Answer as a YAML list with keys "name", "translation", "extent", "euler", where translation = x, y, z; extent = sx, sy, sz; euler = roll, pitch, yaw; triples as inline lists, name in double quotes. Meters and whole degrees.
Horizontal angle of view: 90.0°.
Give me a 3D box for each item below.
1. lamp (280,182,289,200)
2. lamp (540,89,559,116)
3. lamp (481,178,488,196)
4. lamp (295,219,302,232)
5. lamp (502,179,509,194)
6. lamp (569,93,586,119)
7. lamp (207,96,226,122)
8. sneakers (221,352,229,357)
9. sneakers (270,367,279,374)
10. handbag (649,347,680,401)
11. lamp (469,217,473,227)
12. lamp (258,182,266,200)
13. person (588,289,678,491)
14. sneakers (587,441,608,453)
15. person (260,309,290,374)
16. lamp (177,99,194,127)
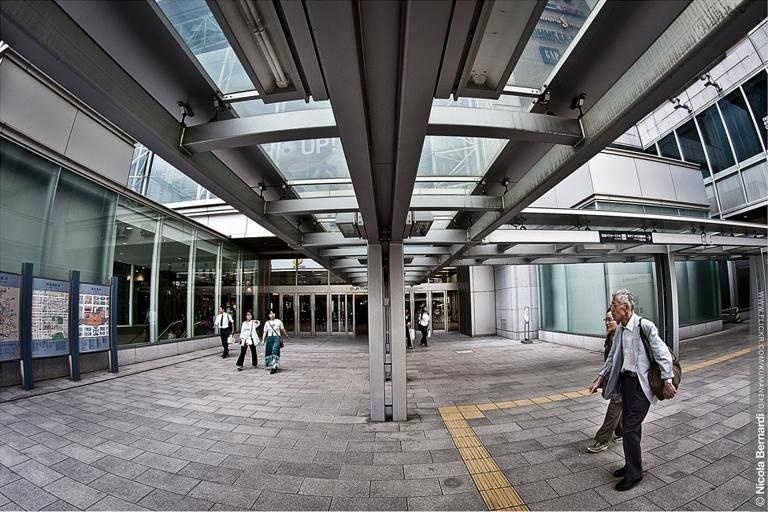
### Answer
- name: "lamp"
  translation: [-1.834, -1.195, 7.065]
  extent: [0.122, 0.285, 0.408]
  euler: [-1, 0, -16]
- name: "lamp"
  translation: [2.145, -2.015, 5.081]
  extent: [0.144, 0.320, 0.315]
  euler: [-1, 0, 37]
- name: "lamp"
  translation: [1.851, -1.247, 7.117]
  extent: [0.109, 0.272, 0.397]
  euler: [-1, 0, 14]
- name: "lamp"
  translation: [-1.958, -0.686, 8.837]
  extent: [0.077, 0.210, 0.158]
  euler: [8, 9, 4]
- name: "lamp"
  translation: [2.171, -1.249, 6.868]
  extent: [0.113, 0.235, 0.402]
  euler: [-1, 0, 18]
- name: "lamp"
  translation: [2.530, -1.962, 5.058]
  extent: [0.112, 0.130, 0.346]
  euler: [5, -27, 1]
- name: "lamp"
  translation: [-2.212, -1.937, 5.113]
  extent: [0.197, 0.322, 0.362]
  euler: [-1, 0, -28]
- name: "sneakers"
  translation: [-6.412, 3.925, 15.426]
  extent: [0.177, 0.188, 0.469]
  euler: [1, -2, -3]
- name: "sneakers"
  translation: [-3.532, 3.689, 12.369]
  extent: [0.163, 0.177, 0.464]
  euler: [-1, -24, -3]
- name: "handbag"
  translation: [4.210, 1.811, 5.782]
  extent: [0.374, 0.773, 0.332]
  euler: [-1, 0, 33]
- name: "lamp"
  translation: [1.948, -0.776, 8.730]
  extent: [0.109, 0.205, 0.323]
  euler: [-1, 0, 14]
- name: "lamp"
  translation: [-2.166, -1.182, 6.791]
  extent: [0.067, 0.175, 0.173]
  euler: [-4, -46, -30]
- name: "person"
  translation: [3.837, 2.001, 5.980]
  extent: [0.752, 3.017, 1.065]
  euler: [-1, 0, -25]
- name: "sneakers"
  translation: [3.745, 3.326, 6.712]
  extent: [0.419, 0.171, 0.151]
  euler: [1, -20, -5]
- name: "person"
  translation: [-3.603, 2.766, 12.610]
  extent: [0.617, 2.001, 1.279]
  euler: [-1, 0, -17]
- name: "lamp"
  translation: [-2.620, -1.860, 5.053]
  extent: [0.180, 0.322, 0.227]
  euler: [-1, 0, -25]
